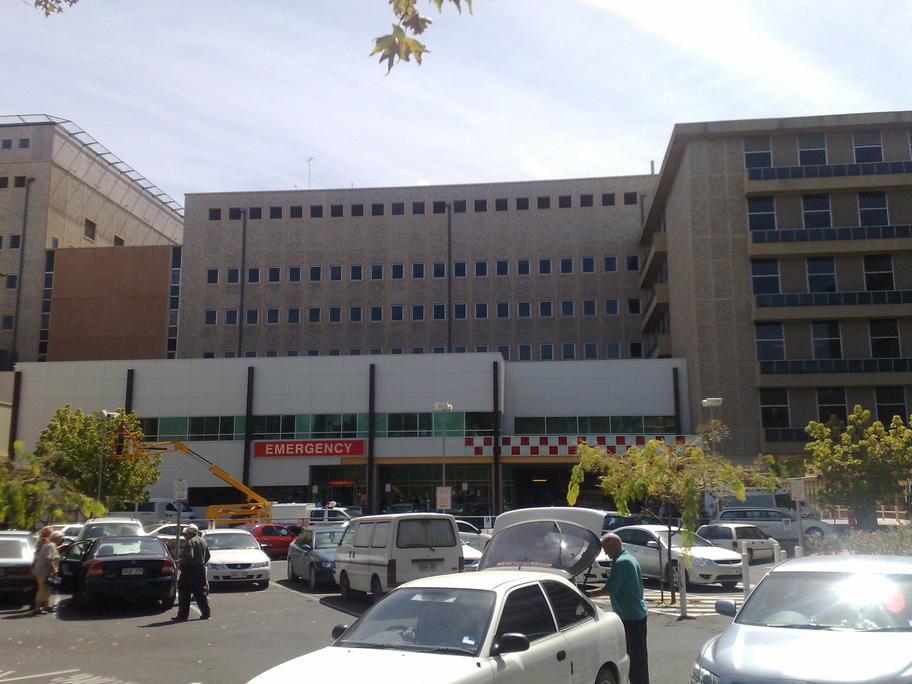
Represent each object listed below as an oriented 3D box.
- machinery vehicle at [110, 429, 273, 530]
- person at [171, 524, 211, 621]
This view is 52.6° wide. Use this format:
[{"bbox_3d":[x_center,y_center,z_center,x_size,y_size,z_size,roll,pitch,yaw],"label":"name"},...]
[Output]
[{"bbox_3d":[-12.704,6.658,44.702,7.500,5.120,2.199,3,-5,-23],"label":"machinery vehicle"},{"bbox_3d":[-5.688,5.022,20.155,0.712,2.032,0.709,4,-13,-16],"label":"person"}]
